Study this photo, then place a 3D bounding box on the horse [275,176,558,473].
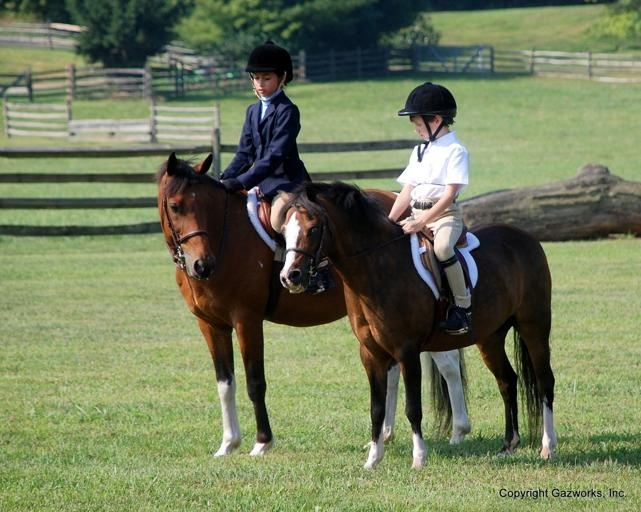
[{"bbox_3d":[1.433,0.880,21.194,4.513,3.896,1.499,-2,1,-37],"label":"horse"}]
